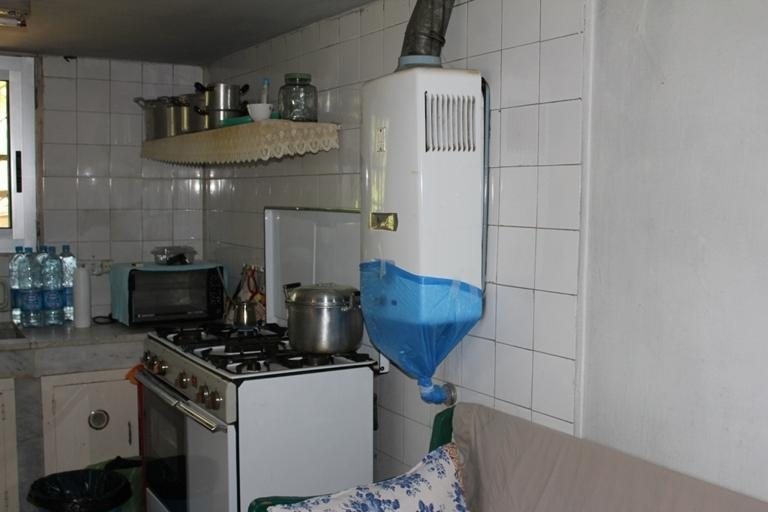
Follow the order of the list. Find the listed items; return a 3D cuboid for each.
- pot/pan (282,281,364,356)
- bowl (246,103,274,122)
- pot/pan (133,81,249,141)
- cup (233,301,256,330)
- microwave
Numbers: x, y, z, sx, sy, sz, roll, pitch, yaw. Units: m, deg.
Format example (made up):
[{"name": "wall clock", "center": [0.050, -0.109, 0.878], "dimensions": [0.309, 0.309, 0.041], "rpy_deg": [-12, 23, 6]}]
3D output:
[{"name": "pot/pan", "center": [-0.280, 0.301, 2.834], "dimensions": [0.502, 0.315, 0.337], "rpy_deg": [2, 4, 34]}, {"name": "bowl", "center": [-0.605, -0.708, 2.889], "dimensions": [0.114, 0.086, 0.112], "rpy_deg": [2, 9, 0]}, {"name": "pot/pan", "center": [-1.166, -0.866, 3.560], "dimensions": [1.082, 0.271, 0.231], "rpy_deg": [5, 9, 45]}, {"name": "cup", "center": [-0.728, 0.318, 3.112], "dimensions": [0.138, 0.145, 0.110], "rpy_deg": [1, -1, 16]}, {"name": "microwave", "center": [-1.414, 0.169, 3.880], "dimensions": [0.535, 0.359, 0.439], "rpy_deg": [0, 1, -30]}]
